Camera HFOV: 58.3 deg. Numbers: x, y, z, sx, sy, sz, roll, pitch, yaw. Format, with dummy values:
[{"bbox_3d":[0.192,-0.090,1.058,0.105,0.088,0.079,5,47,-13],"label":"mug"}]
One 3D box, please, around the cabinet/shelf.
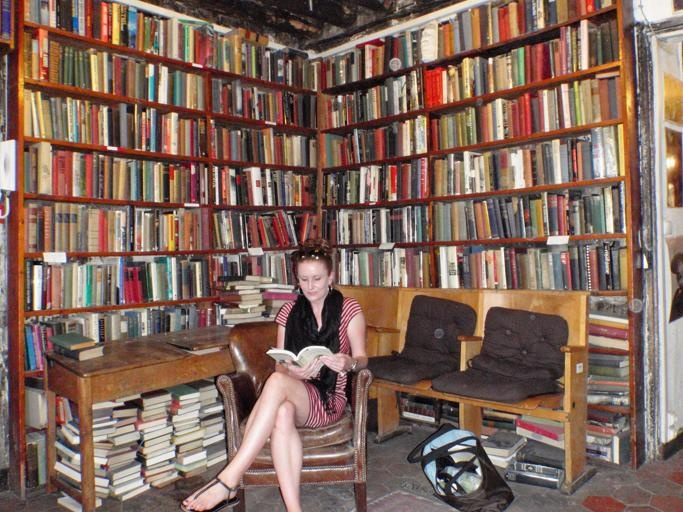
[{"bbox_3d":[-0.181,-0.189,4.531,4.101,3.231,2.185,-4,1,-11],"label":"cabinet/shelf"}]
